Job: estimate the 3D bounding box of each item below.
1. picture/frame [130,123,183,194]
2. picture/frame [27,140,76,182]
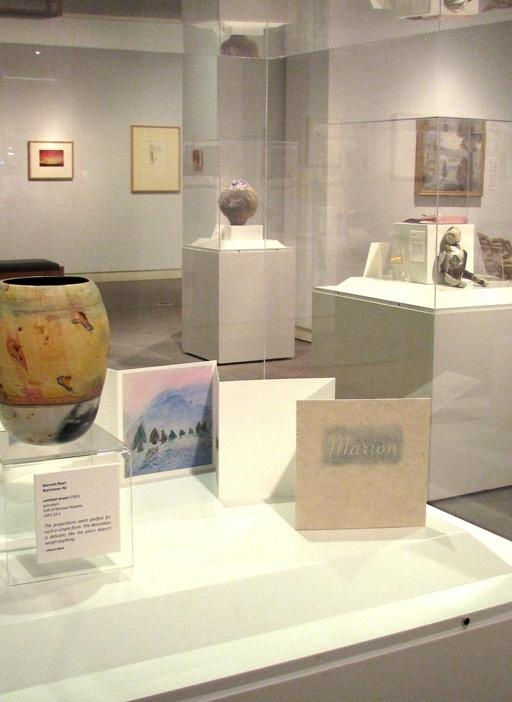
[{"bbox_3d":[-0.562,-1.072,3.233,0.027,0.385,0.391,17,22,38],"label":"picture/frame"},{"bbox_3d":[-1.010,-0.934,2.858,0.231,0.191,0.022,-4,11,-43],"label":"picture/frame"}]
